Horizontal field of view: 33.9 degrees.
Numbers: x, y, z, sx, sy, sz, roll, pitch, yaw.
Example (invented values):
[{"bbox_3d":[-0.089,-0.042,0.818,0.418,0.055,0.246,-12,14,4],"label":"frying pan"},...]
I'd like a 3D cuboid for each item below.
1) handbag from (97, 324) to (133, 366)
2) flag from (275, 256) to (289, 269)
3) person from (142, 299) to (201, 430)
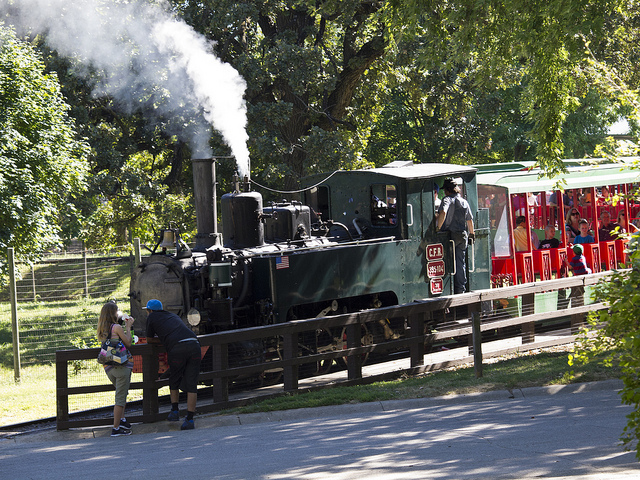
[{"bbox_3d":[-3.344,1.731,17.608,0.733,0.768,0.399,-2,9,17],"label":"handbag"},{"bbox_3d":[-0.722,0.433,20.108,0.323,0.238,0.033,0,-5,-38],"label":"flag"},{"bbox_3d":[-2.455,2.099,17.817,0.843,2.180,0.387,-4,-4,17],"label":"person"}]
